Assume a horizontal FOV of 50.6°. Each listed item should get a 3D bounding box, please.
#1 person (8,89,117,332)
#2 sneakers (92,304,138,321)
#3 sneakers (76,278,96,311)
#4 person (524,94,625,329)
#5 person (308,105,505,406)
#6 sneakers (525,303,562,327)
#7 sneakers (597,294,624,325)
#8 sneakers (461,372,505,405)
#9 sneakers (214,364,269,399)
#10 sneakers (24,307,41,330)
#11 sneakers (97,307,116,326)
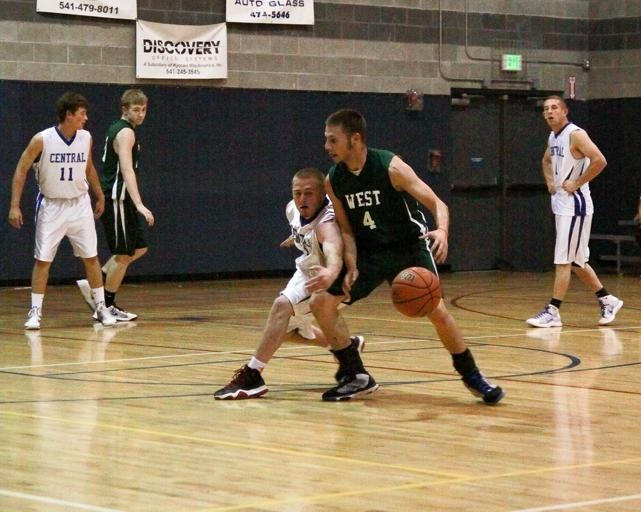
[{"bbox_3d":[-2.544,-0.422,6.599,0.913,2.257,0.627,-4,8,-22],"label":"person"},{"bbox_3d":[-2.171,0.591,7.027,0.485,0.240,0.179,0,1,-11],"label":"sneakers"},{"bbox_3d":[-2.575,0.427,7.383,0.138,0.370,0.118,-3,22,22],"label":"sneakers"},{"bbox_3d":[2.585,-0.432,6.860,0.884,2.356,1.084,4,9,36],"label":"person"},{"bbox_3d":[0.344,0.014,3.623,0.705,1.563,0.450,2,8,23],"label":"person"},{"bbox_3d":[2.236,0.596,6.738,0.400,0.294,0.162,3,-1,-13],"label":"sneakers"},{"bbox_3d":[3.031,0.562,7.041,0.140,0.265,0.091,33,-13,-6],"label":"sneakers"},{"bbox_3d":[0.861,0.692,3.722,0.107,0.151,0.291,-26,12,-23],"label":"sneakers"},{"bbox_3d":[-0.426,0.728,3.847,0.342,0.241,0.132,0,-9,-4],"label":"sneakers"},{"bbox_3d":[-2.772,0.593,6.486,0.108,0.147,0.321,0,-4,-10],"label":"sneakers"},{"bbox_3d":[-2.132,0.589,6.662,0.105,0.124,0.291,-28,19,-16],"label":"sneakers"}]
